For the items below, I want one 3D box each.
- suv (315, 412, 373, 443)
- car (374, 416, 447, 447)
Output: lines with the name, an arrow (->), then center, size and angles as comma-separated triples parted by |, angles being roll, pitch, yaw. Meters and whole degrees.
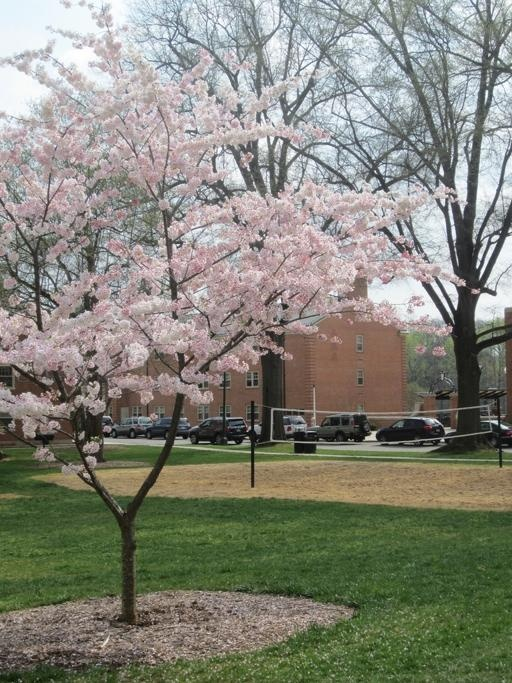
suv -> 4.656, 4.739, 44.856 | 3.288, 1.599, 1.965 | 2, 0, 42
car -> 7.261, 4.530, 39.013 | 1.828, 1.295, 3.688 | 3, -3, -41
